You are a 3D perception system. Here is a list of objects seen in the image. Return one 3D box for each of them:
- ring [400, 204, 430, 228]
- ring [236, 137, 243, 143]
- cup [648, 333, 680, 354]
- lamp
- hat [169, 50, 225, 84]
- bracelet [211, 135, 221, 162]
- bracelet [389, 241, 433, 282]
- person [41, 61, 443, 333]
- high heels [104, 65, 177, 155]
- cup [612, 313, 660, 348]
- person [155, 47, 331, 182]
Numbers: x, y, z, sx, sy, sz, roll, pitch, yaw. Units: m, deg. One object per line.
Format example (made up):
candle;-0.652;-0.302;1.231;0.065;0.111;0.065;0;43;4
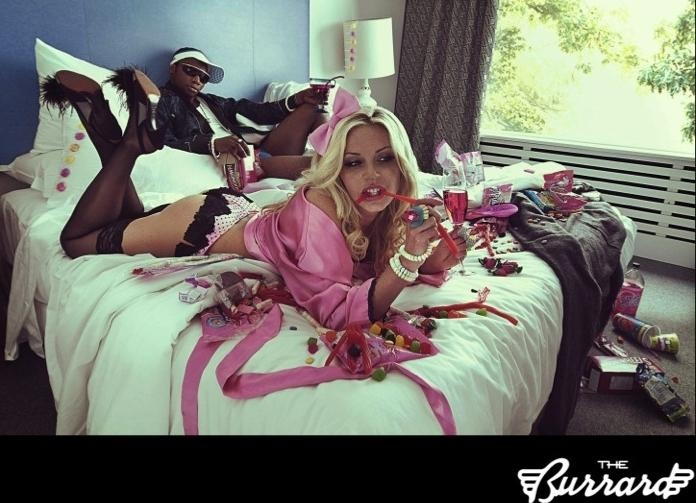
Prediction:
ring;0.220;-0.115;1.524;0.064;0.034;0.086;-3;46;15
ring;-0.488;-0.501;2.144;0.022;0.017;0.022;0;5;0
cup;1.569;0.453;2.335;0.142;0.086;0.057;2;18;4
lamp;0.149;-1.379;3.496;0.354;0.566;0.351;2;22;11
hat;-0.662;-0.808;2.111;0.149;0.079;0.108;15;-24;-37
bracelet;-0.578;-0.438;2.045;0.028;0.080;0.059;-5;20;14
bracelet;0.206;0.015;1.494;0.099;0.129;0.033;26;21;-13
person;-0.491;-0.190;1.890;1.581;0.785;0.745;13;32;12
high heels;-0.786;-0.545;1.821;0.130;0.392;0.154;-10;-15;-28
cup;1.463;0.392;2.419;0.141;0.142;0.210;26;7;-37
person;-0.392;-0.624;2.185;0.990;0.618;0.519;1;14;-2
